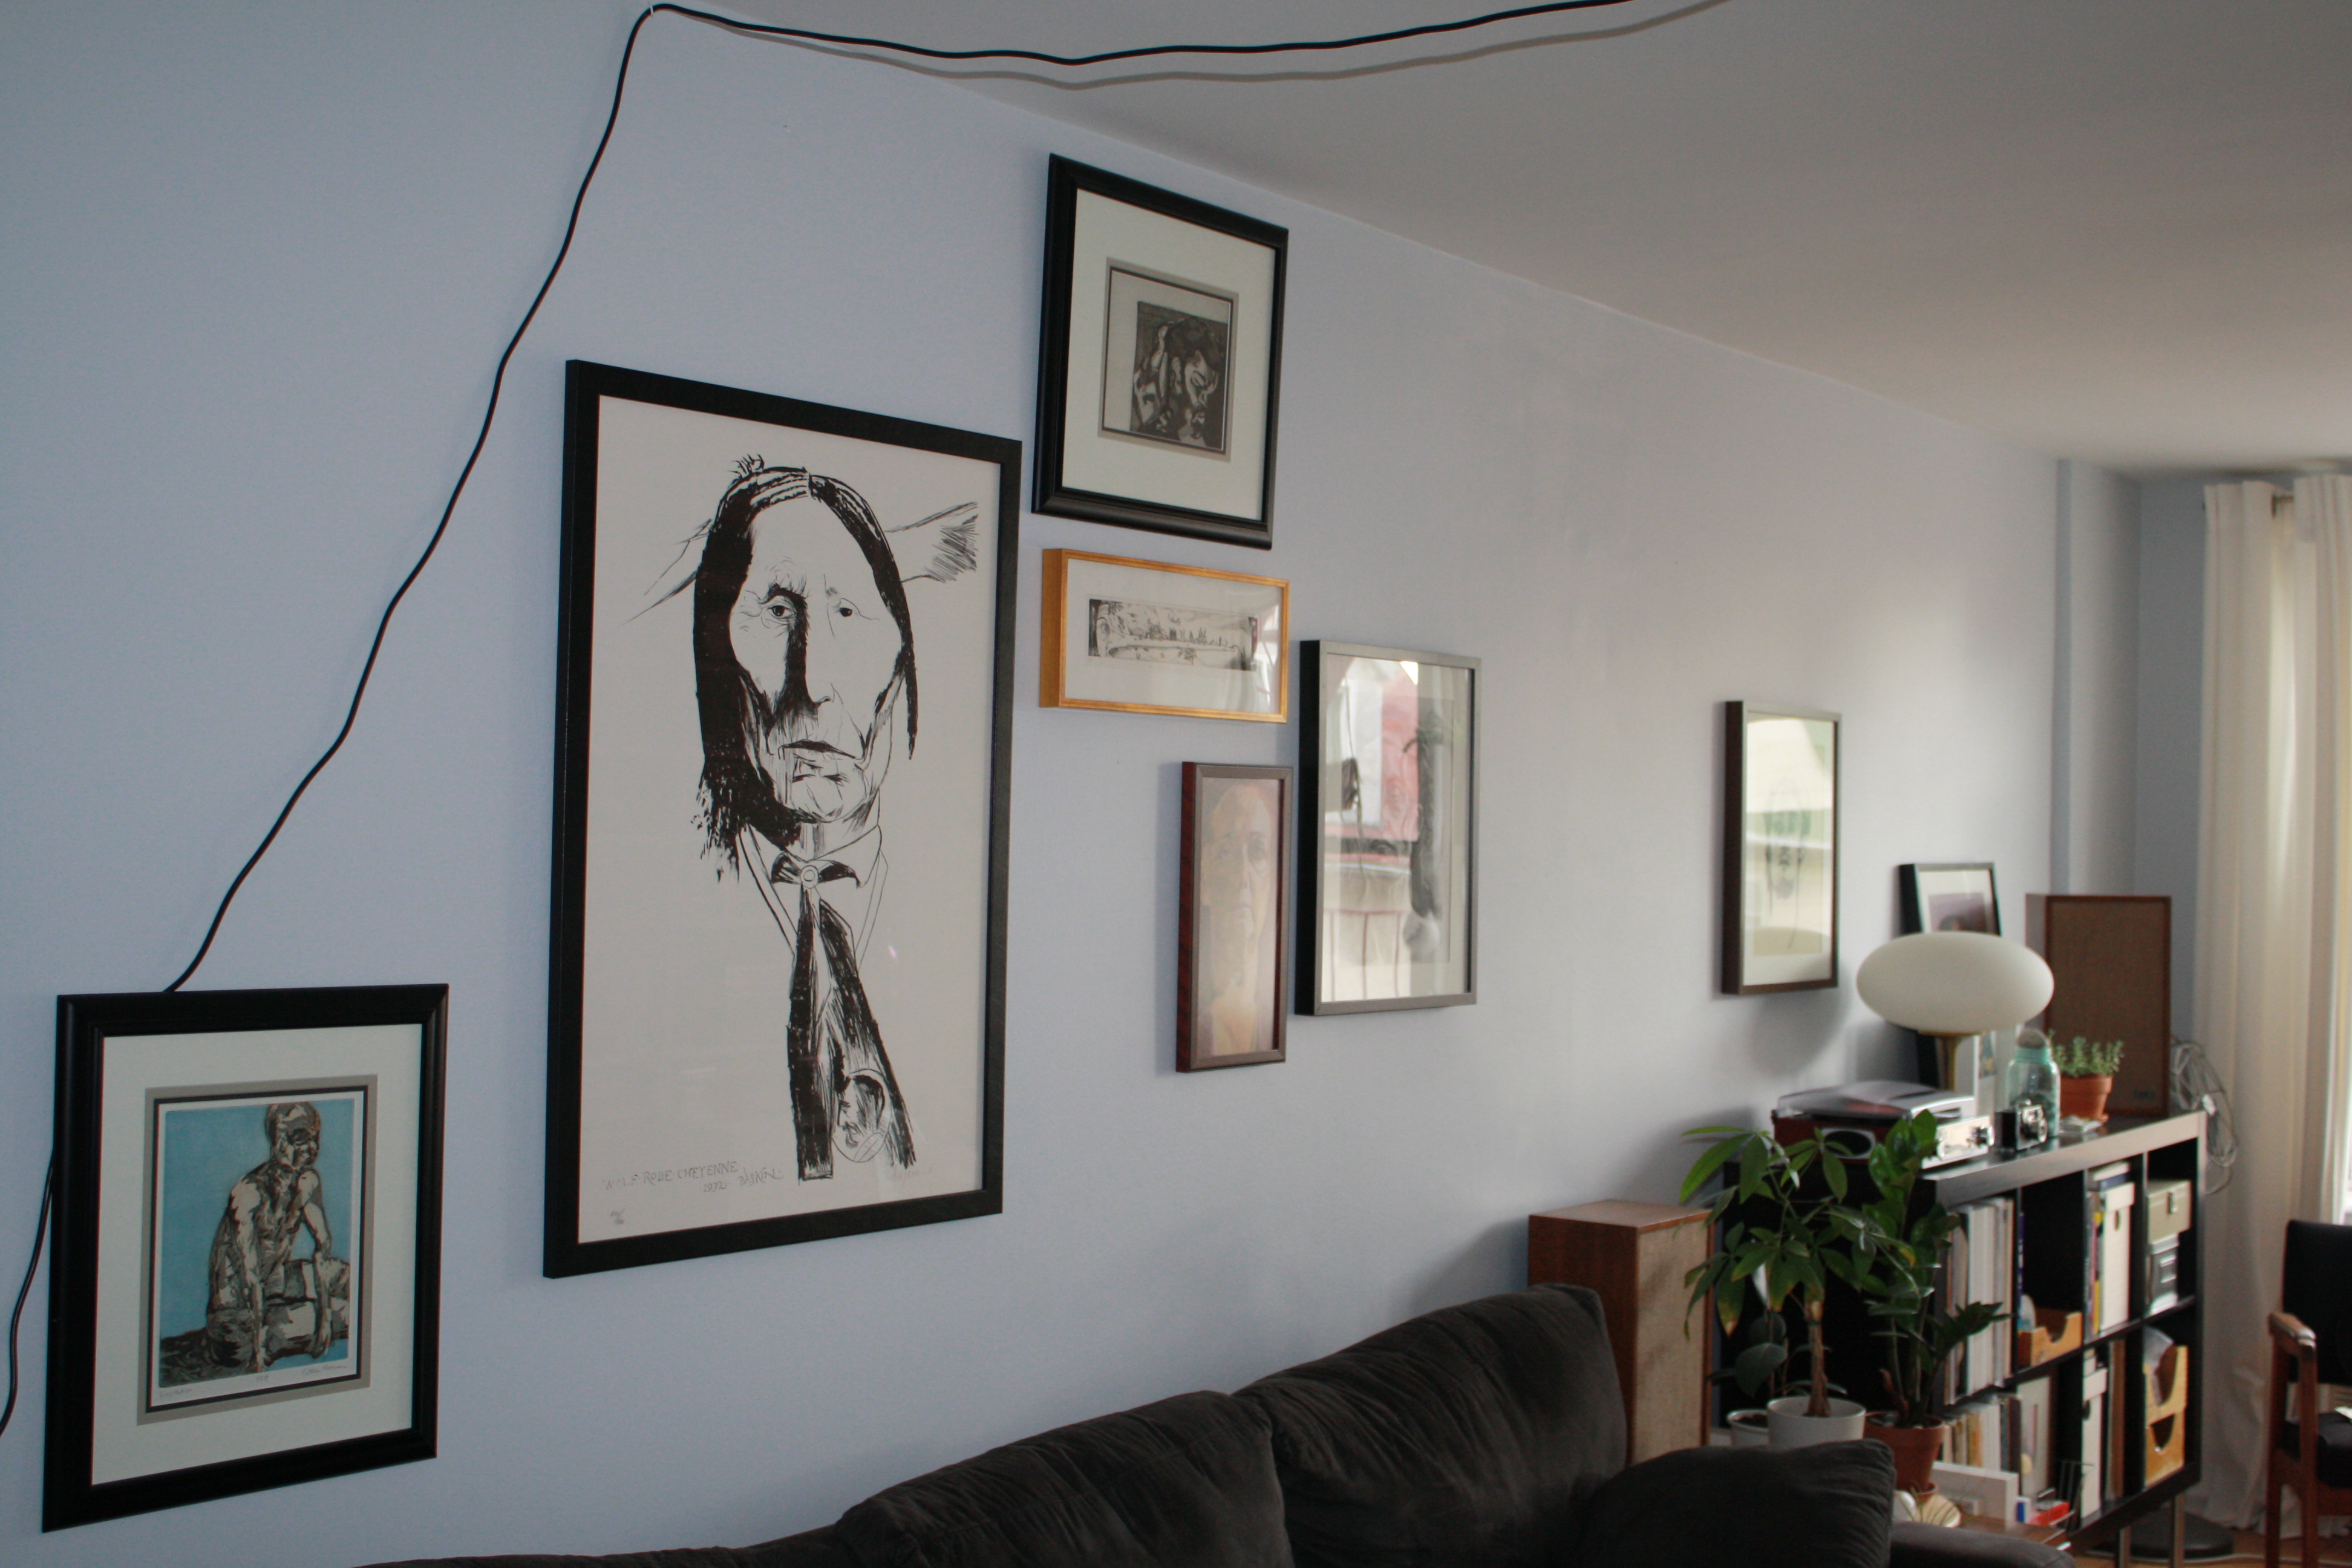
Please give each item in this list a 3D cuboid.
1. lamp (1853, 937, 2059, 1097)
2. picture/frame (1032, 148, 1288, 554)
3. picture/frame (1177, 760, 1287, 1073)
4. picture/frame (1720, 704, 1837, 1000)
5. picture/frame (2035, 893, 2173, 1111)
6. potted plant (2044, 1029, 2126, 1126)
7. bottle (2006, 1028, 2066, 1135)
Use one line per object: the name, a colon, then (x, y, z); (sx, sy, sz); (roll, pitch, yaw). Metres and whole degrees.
lamp: (1.995, 0.573, 4.735); (0.319, 0.354, 0.320); (-2, 0, 41)
picture/frame: (-0.054, -0.833, 3.580); (0.719, 0.867, 0.061); (3, -2, -40)
picture/frame: (0.113, 0.258, 3.696); (0.254, 0.588, 0.071); (3, -6, -40)
picture/frame: (1.524, 0.177, 4.765); (0.085, 0.951, 0.733); (-1, -1, 39)
picture/frame: (2.773, 0.701, 5.544); (0.339, 0.677, 0.233); (-5, -33, 35)
potted plant: (2.582, 0.832, 5.262); (0.230, 0.284, 0.259); (0, -9, -1)
bottle: (2.240, 0.780, 4.892); (0.136, 0.267, 0.139); (0, -1, 0)
